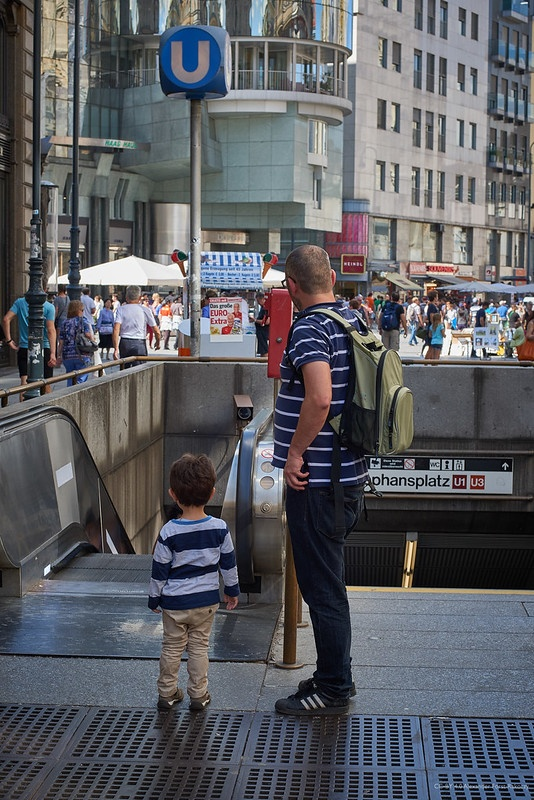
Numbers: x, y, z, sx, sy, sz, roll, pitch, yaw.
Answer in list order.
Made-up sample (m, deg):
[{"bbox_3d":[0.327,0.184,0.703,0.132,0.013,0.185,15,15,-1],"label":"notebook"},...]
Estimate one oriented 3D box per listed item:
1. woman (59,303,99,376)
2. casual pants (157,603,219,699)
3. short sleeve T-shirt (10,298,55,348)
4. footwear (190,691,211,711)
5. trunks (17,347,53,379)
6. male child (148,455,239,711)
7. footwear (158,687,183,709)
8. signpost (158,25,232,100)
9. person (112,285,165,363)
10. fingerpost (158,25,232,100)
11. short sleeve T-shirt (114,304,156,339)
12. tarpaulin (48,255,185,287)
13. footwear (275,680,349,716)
[{"bbox_3d":[-2.595,-0.829,13.083,0.457,1.102,0.775,0,1,-16],"label":"woman"},{"bbox_3d":[-0.282,0.878,3.426,0.154,0.124,0.417,-6,46,9],"label":"casual pants"},{"bbox_3d":[-3.133,-1.092,12.810,0.545,0.803,0.306,6,43,-8],"label":"short sleeve T-shirt"},{"bbox_3d":[-0.237,1.038,3.306,0.028,0.047,0.098,3,13,10],"label":"footwear"},{"bbox_3d":[-2.938,-0.499,12.064,0.282,0.341,0.184,5,18,7],"label":"trunks"},{"bbox_3d":[-0.252,0.649,3.498,0.309,1.041,0.182,-2,20,-15],"label":"male child"},{"bbox_3d":[-0.339,1.046,3.334,0.032,0.053,0.109,7,15,15],"label":"footwear"},{"bbox_3d":[-1.023,-4.847,13.735,0.909,1.066,1.082,1,11,1],"label":"signpost"},{"bbox_3d":[-1.979,-0.944,14.550,0.678,1.812,0.458,2,29,-8],"label":"person"},{"bbox_3d":[-1.023,-4.811,13.749,0.909,1.066,1.082,1,11,1],"label":"fingerpost"},{"bbox_3d":[-1.984,-1.364,14.380,0.695,0.847,0.442,-1,4,-7],"label":"short sleeve T-shirt"},{"bbox_3d":[-3.498,-3.324,24.418,2.416,0.934,2.635,-1,2,-20],"label":"tarpaulin"},{"bbox_3d":[0.153,1.036,3.347,0.278,0.157,0.108,2,-1,1],"label":"footwear"}]
